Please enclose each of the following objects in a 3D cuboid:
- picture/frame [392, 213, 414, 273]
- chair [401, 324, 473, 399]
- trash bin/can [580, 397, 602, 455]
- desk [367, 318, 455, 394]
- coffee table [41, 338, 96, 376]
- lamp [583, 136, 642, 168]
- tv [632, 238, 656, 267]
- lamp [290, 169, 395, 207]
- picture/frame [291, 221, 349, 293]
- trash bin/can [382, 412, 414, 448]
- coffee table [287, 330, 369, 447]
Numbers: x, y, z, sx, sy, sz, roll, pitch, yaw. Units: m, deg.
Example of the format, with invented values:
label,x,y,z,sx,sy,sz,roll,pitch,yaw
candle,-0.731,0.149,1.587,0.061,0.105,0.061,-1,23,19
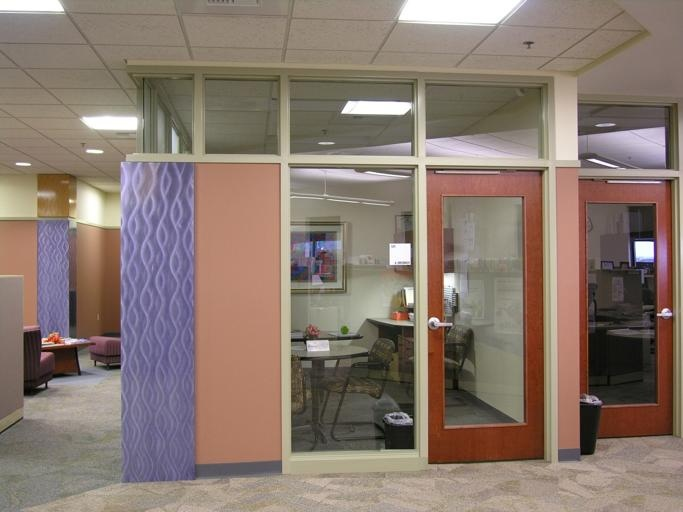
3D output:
label,x,y,z,sx,sy,sz,roll,pitch,yaw
picture/frame,0.578,-0.125,5.165,0.187,0.560,0.112,0,9,4
chair,0.871,0.902,4.856,0.641,0.707,0.557,1,-5,2
trash bin/can,2.416,1.646,5.416,0.181,0.498,0.323,3,10,24
desk,0.618,0.898,5.054,0.673,0.592,0.656,1,-4,-3
coffee table,-4.478,1.631,8.760,0.883,0.436,0.912,-7,-12,26
lamp,2.813,-1.117,5.662,0.560,0.368,0.128,1,-7,-8
tv,3.138,-0.044,5.777,0.310,0.307,0.032,1,1,4
lamp,0.061,-0.633,5.133,1.025,0.366,0.198,0,9,4
picture/frame,-0.221,-0.004,5.094,0.682,0.671,0.053,1,-2,-7
trash bin/can,0.509,1.612,5.125,0.337,0.306,0.179,1,-6,-7
coffee table,-0.103,1.164,5.070,0.946,0.666,0.891,2,-6,-10
